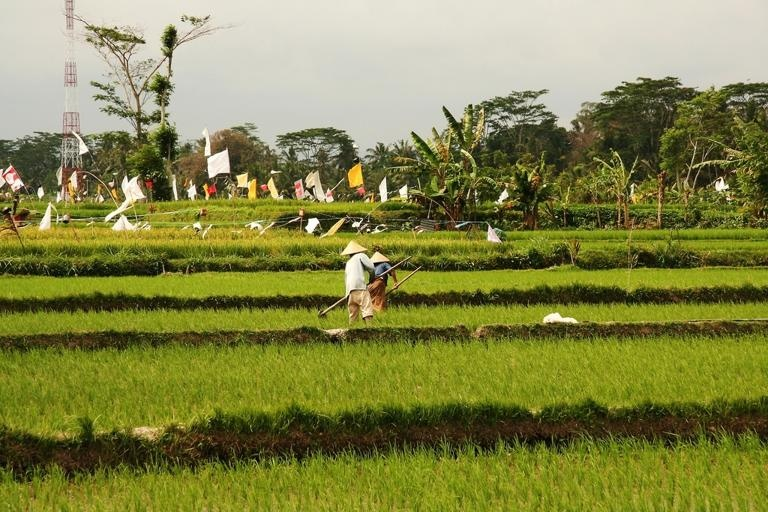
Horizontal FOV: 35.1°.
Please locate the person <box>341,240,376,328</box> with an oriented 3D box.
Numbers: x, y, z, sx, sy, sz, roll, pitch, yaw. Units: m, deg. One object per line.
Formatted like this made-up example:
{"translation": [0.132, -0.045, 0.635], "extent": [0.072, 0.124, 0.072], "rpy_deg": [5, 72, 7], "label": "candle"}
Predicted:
{"translation": [-0.845, 0.850, 40.691], "extent": [0.968, 2.691, 1.327], "rpy_deg": [-1, 3, -1], "label": "person"}
